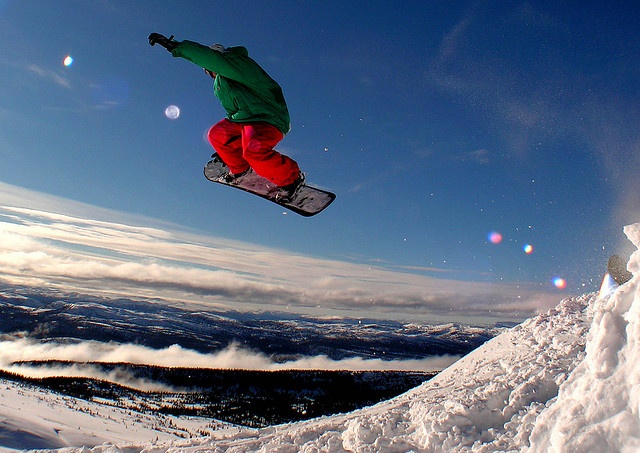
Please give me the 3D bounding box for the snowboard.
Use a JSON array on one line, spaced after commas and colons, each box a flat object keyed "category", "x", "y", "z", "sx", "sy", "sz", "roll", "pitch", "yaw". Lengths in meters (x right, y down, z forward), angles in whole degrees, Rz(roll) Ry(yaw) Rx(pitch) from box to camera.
[{"category": "snowboard", "x": -1.109, "y": -1.005, "z": 9.621, "sx": 2.089, "sy": 0.665, "sz": 0.304, "roll": 25, "pitch": -48, "yaw": -3}]
